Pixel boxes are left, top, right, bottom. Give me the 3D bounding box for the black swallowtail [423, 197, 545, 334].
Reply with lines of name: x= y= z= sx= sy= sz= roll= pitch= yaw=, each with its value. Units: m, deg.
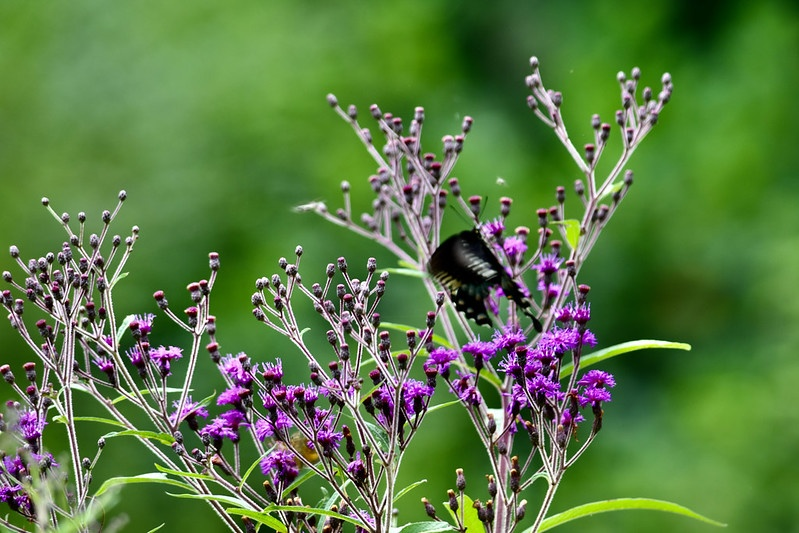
black swallowtail: x=0.393 y=-0.054 z=5.254 sx=0.459 sy=0.681 sz=0.481 roll=-3 pitch=-61 yaw=-13
